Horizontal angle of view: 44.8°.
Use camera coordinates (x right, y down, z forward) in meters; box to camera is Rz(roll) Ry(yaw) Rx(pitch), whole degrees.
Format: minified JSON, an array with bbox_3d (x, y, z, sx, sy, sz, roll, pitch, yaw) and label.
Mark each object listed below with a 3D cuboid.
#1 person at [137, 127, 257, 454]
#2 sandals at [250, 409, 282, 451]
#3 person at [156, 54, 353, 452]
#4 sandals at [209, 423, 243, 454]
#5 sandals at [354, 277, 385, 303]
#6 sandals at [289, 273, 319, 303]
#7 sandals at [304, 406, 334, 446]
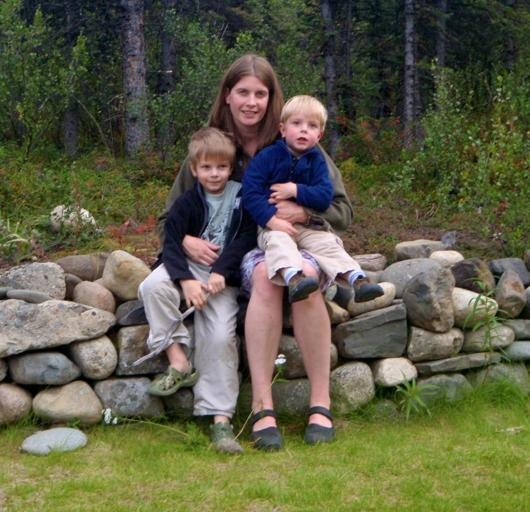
[{"bbox_3d":[-0.422,0.312,4.110,0.726,1.493,0.997,0,12,-1],"label":"person"},{"bbox_3d":[0.009,1.036,3.838,0.174,0.196,0.177,0,12,-1],"label":"sandals"},{"bbox_3d":[0.051,-0.119,4.394,1.141,2.538,1.456,-6,7,-19],"label":"person"},{"bbox_3d":[-0.237,1.095,3.870,0.162,0.122,0.302,-2,13,-12],"label":"sandals"},{"bbox_3d":[0.619,0.220,3.892,0.152,0.156,0.197,0,12,0],"label":"sandals"},{"bbox_3d":[0.222,0.205,3.810,0.170,0.208,0.234,-1,12,-5],"label":"sandals"},{"bbox_3d":[0.332,1.034,3.915,0.175,0.208,0.207,2,12,8],"label":"sandals"}]
